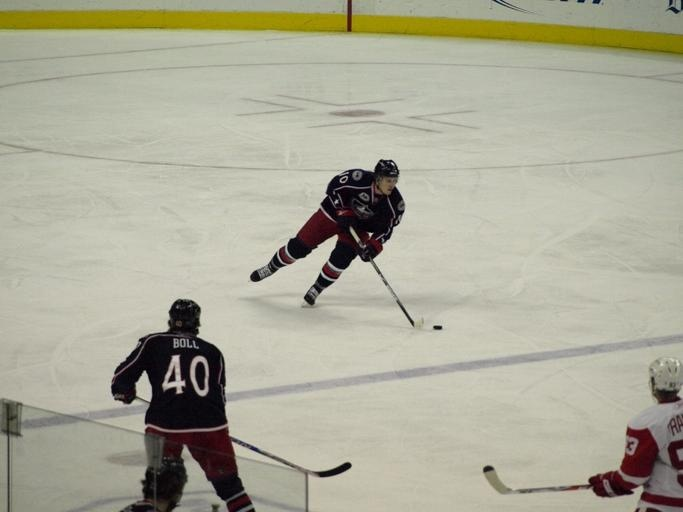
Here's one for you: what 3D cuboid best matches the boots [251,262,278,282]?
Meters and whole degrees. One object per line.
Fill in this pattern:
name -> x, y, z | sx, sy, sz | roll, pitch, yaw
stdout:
boots -> -0.643, 0.140, 10.107 | 0.250, 0.069, 0.133 | -22, 37, -9

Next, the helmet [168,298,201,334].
helmet -> -0.937, 0.365, 7.462 | 0.192, 0.199, 0.223 | 3, 8, -4

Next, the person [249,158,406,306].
person -> -0.048, -0.115, 9.987 | 0.690, 1.628, 0.566 | 35, 36, -16

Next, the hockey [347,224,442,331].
hockey -> 0.427, 0.206, 10.132 | 1.296, 0.187, 0.127 | 41, -2, 27

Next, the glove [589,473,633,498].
glove -> 1.591, 1.356, 7.160 | 0.207, 0.077, 0.198 | 1, -21, 31

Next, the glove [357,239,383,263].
glove -> 0.227, -0.057, 9.745 | 0.106, 0.142, 0.213 | -9, 17, 21

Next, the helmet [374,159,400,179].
helmet -> 0.398, -0.688, 9.580 | 0.166, 0.173, 0.190 | -3, 5, -19
